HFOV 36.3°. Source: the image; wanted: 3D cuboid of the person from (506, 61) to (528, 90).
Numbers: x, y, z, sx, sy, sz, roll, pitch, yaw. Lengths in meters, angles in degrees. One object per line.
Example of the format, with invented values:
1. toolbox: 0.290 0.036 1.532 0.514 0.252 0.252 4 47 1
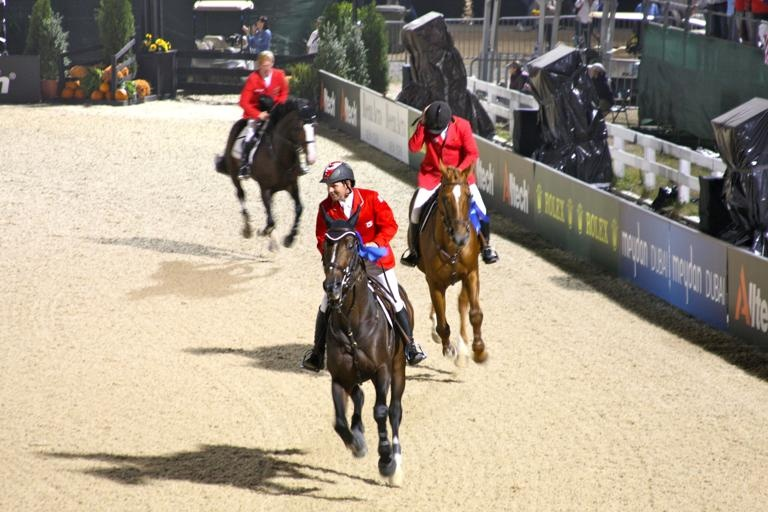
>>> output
1. person: 4.850 -6.414 41.834 0.675 0.656 1.763 -3 23 3

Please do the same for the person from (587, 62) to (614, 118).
1. person: 6.808 -5.047 36.165 0.781 1.659 1.883 2 17 10

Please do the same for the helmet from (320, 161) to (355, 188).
1. helmet: -0.800 -1.474 21.142 0.374 0.356 0.545 2 4 39

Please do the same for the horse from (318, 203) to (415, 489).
1. horse: -0.362 1.664 21.046 1.401 4.977 1.112 -2 15 -5

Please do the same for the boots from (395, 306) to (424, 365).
1. boots: 0.436 1.533 21.720 0.374 1.286 0.305 8 -21 -36

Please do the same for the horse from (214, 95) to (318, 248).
1. horse: -2.985 -2.230 29.600 1.331 3.653 3.065 -12 20 -35
